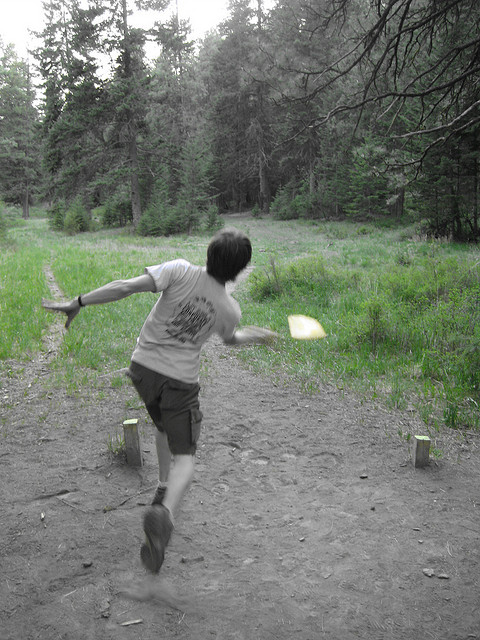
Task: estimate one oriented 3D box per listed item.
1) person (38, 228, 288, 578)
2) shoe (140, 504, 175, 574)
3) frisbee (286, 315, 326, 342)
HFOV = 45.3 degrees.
[{"bbox_3d":[-0.398,0.439,3.718,0.831,2.031,1.153,9,14,38],"label":"person"},{"bbox_3d":[-0.466,1.185,3.135,0.117,0.470,0.180,4,-2,12],"label":"shoe"},{"bbox_3d":[0.674,0.104,5.936,0.251,0.055,0.320,18,34,-17],"label":"frisbee"}]
